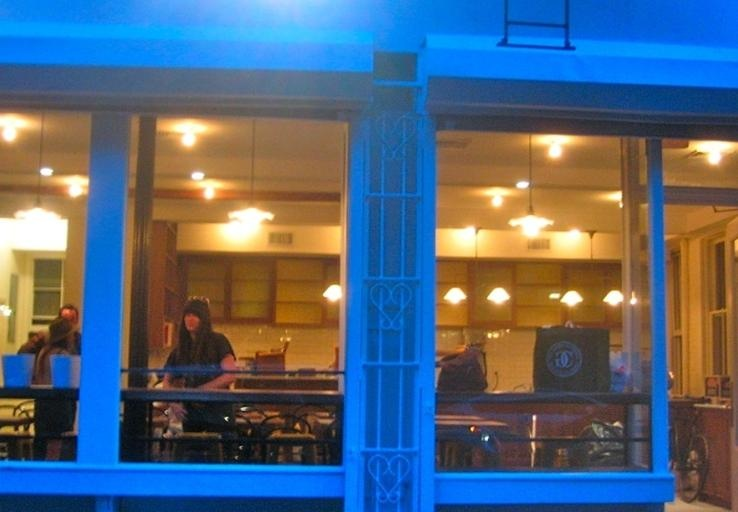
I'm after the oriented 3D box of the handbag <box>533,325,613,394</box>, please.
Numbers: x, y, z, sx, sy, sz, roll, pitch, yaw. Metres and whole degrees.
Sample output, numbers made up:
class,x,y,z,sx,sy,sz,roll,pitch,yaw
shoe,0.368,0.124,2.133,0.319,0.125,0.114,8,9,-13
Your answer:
class,x,y,z,sx,sy,sz,roll,pitch,yaw
handbag,1.655,0.926,10.011,0.850,0.776,0.470,0,-18,6

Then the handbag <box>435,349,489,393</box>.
class,x,y,z,sx,sy,sz,roll,pitch,yaw
handbag,0.776,0.965,9.766,0.428,0.381,0.571,3,-6,4

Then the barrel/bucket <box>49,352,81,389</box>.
class,x,y,z,sx,sy,sz,roll,pitch,yaw
barrel/bucket,-2.368,0.934,9.361,0.369,0.270,0.110,-5,-10,26

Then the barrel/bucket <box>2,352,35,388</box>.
class,x,y,z,sx,sy,sz,roll,pitch,yaw
barrel/bucket,-2.767,0.931,9.400,0.243,0.265,0.234,0,-9,0

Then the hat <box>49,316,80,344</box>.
class,x,y,z,sx,sy,sz,roll,pitch,yaw
hat,-2.685,0.675,10.488,0.211,0.256,0.260,-4,1,-23
